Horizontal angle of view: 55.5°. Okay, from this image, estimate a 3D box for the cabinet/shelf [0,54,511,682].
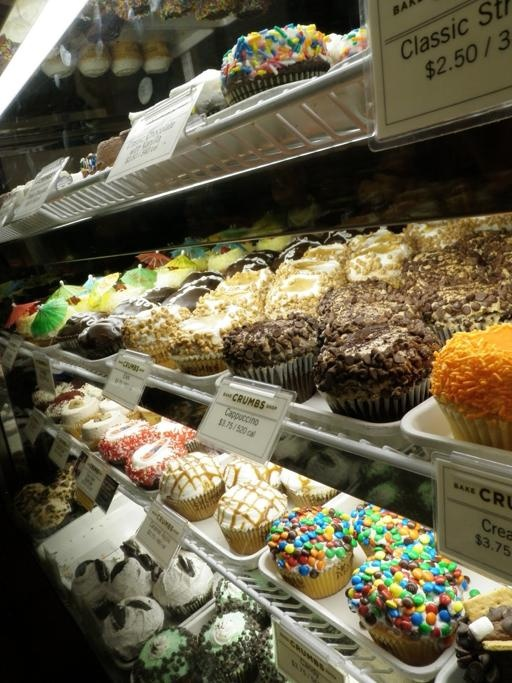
[{"bbox_3d":[-0.050,-0.147,0.954,0.376,0.689,1.138,-35,39,-23],"label":"cabinet/shelf"}]
